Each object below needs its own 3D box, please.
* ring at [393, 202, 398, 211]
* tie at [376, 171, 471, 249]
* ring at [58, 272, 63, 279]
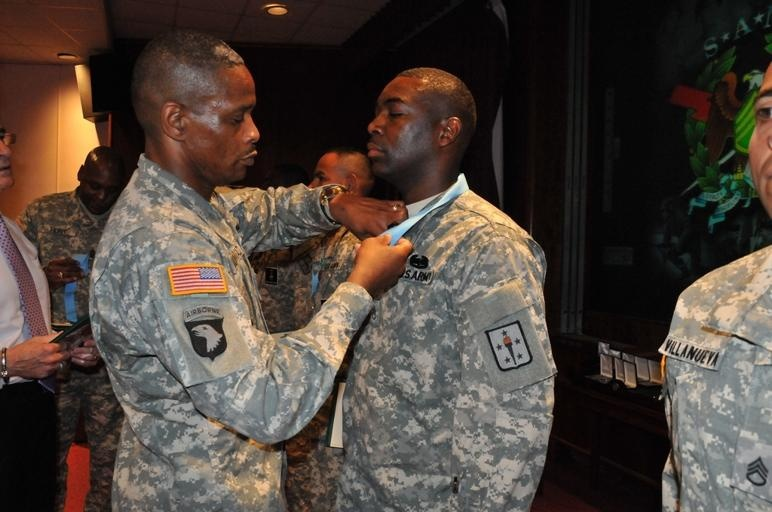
[{"bbox_3d":[0.042,-0.218,2.739,0.031,0.030,0.010,2,-25,2],"label":"ring"},{"bbox_3d":[0.189,-0.205,2.731,0.179,0.546,0.100,44,-7,47],"label":"tie"},{"bbox_3d":[-1.952,0.115,3.731,0.025,0.035,0.012,-1,3,-19],"label":"ring"}]
